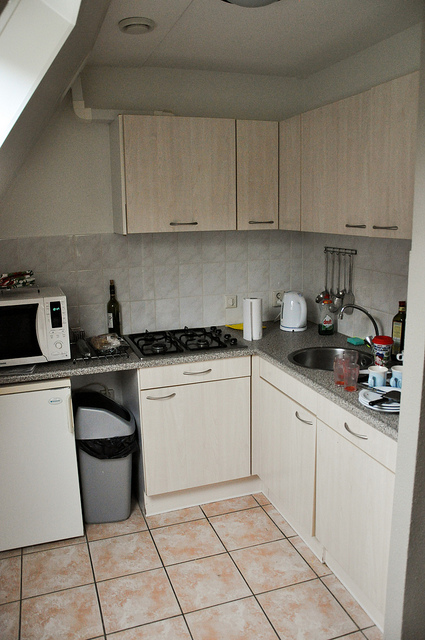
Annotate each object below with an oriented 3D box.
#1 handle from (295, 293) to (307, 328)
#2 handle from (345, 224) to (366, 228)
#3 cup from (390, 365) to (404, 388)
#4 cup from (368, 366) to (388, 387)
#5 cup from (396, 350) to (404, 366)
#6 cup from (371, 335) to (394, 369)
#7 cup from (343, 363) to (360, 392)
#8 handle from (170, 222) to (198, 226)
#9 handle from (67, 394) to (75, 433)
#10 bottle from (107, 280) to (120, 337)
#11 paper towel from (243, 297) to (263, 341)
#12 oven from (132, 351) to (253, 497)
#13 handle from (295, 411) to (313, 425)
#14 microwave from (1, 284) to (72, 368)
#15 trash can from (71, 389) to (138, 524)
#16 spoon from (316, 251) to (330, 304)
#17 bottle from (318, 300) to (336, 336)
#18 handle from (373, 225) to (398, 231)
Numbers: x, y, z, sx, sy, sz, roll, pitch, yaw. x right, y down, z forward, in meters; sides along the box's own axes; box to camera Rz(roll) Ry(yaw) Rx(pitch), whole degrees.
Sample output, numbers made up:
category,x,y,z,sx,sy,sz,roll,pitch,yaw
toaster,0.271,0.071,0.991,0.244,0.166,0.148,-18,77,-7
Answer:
category,x,y,z,sx,sy,sz,roll,pitch,yaw
handle,0.534,-0.054,2.780,0.072,0.204,0.039,-4,8,-19
handle,0.630,-0.415,2.026,0.016,0.017,0.093,-12,16,-34
cup,0.709,0.211,1.776,0.036,0.081,0.135,2,9,22
cup,0.647,0.220,1.805,0.051,0.087,0.085,-4,3,-5
cup,0.830,0.164,2.039,0.022,0.058,0.110,3,10,27
cup,0.791,0.140,2.135,0.091,0.143,0.205,2,9,23
cup,0.554,0.224,1.848,0.060,0.109,0.076,0,8,13
handle,-0.144,-0.515,2.457,0.129,0.023,0.016,-2,54,-12
handle,-0.672,0.441,2.185,0.017,0.194,0.035,2,9,26
bottle,-0.587,-0.075,2.709,0.073,0.324,0.079,-1,8,0
paper towel,0.230,-0.007,2.642,0.111,0.238,0.087,-1,8,5
oven,-0.106,0.504,2.804,0.697,1.142,0.678,-4,11,-18
handle,0.405,0.434,2.040,0.023,0.020,0.103,-23,47,-23
microwave,-0.847,-0.011,2.186,0.310,0.290,0.347,-4,9,-23
trash can,-0.569,0.740,2.540,0.297,0.676,0.384,-3,8,-10
spoon,0.655,-0.257,2.743,0.072,0.301,0.246,1,8,14
bottle,0.697,-0.036,2.809,0.101,0.215,0.350,1,9,14
handle,0.684,-0.365,1.823,0.094,0.014,0.020,4,55,49
